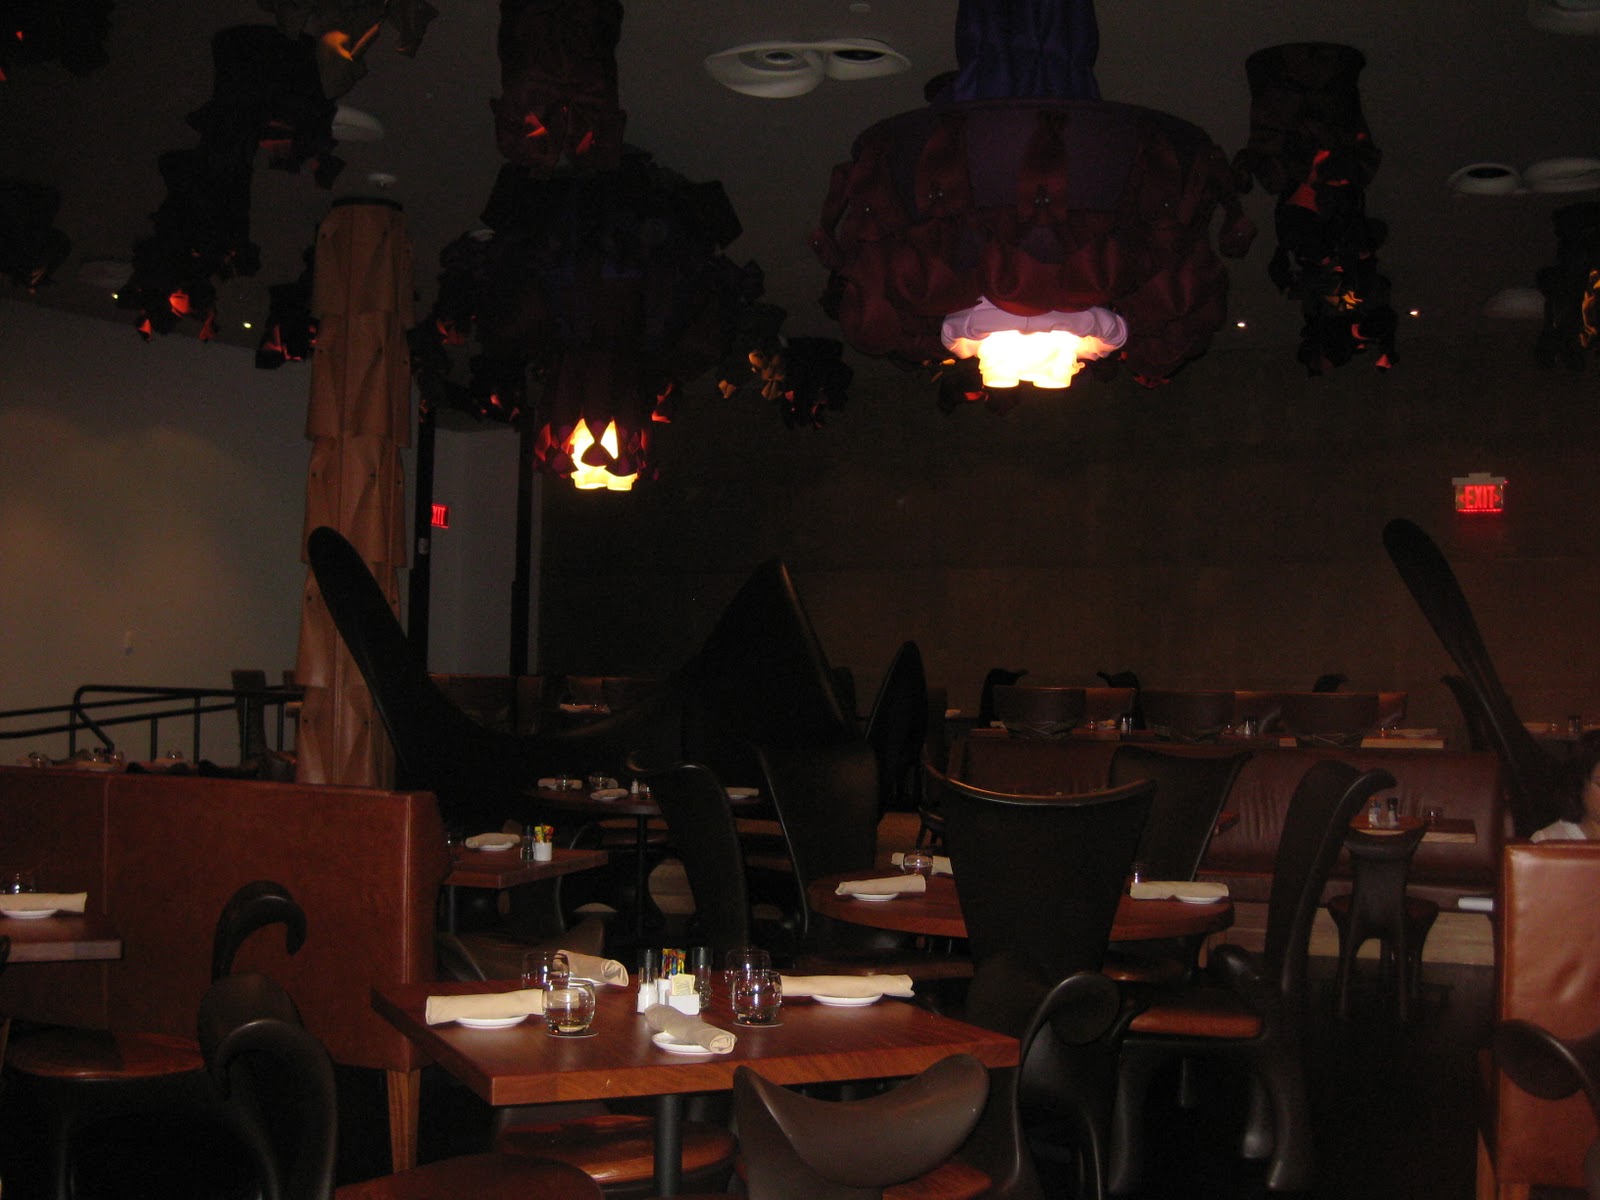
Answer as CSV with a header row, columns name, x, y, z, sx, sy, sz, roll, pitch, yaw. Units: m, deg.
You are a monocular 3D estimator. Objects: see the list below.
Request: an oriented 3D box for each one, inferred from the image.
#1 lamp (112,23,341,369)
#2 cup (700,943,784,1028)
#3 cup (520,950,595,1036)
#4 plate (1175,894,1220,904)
name,x,y,z,sx,sy,sz,roll,pitch,yaw
lamp,-2.542,-1.887,7.070,0.634,1.215,1.876,2,3,-29
cup,-0.137,1.038,4.294,0.205,0.199,0.159,-7,-9,33
cup,-0.623,1.016,4.179,0.165,0.155,0.306,3,3,-14
plate,1.357,1.007,5.385,0.136,0.028,0.076,4,2,6
